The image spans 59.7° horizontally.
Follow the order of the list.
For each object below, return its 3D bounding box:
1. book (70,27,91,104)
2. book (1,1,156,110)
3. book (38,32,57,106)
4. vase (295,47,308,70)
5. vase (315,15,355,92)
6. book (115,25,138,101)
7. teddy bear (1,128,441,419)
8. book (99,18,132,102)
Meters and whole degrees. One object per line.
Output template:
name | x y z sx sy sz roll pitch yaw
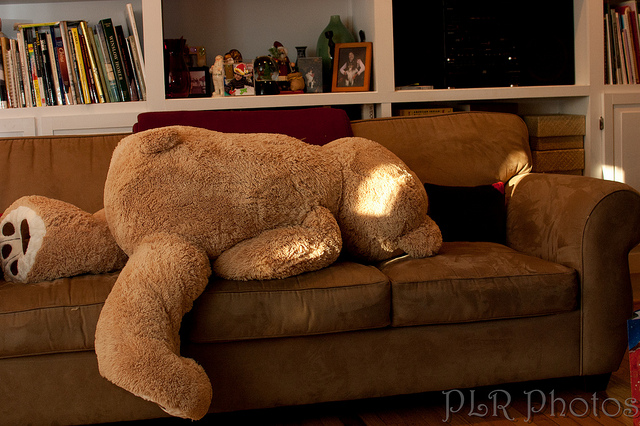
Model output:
book | -1.353 -0.843 3.164 0.037 0.421 0.081 -12 15 -21
book | -1.393 -0.880 3.179 0.634 0.609 0.302 -5 7 -7
book | -1.539 -0.821 3.158 0.051 0.398 0.064 -10 15 -15
vase | -0.121 -0.948 3.394 0.072 0.128 0.232 -6 15 -1
vase | 0.110 -1.022 3.479 0.262 0.428 0.260 -13 24 -27
book | -1.106 -0.857 3.177 0.049 0.291 0.336 -17 49 -16
teddy bear | -0.347 0.056 2.099 1.321 0.466 1.321 -6 32 -10
book | -1.155 -0.878 3.163 0.086 0.354 0.360 -9 13 -9
